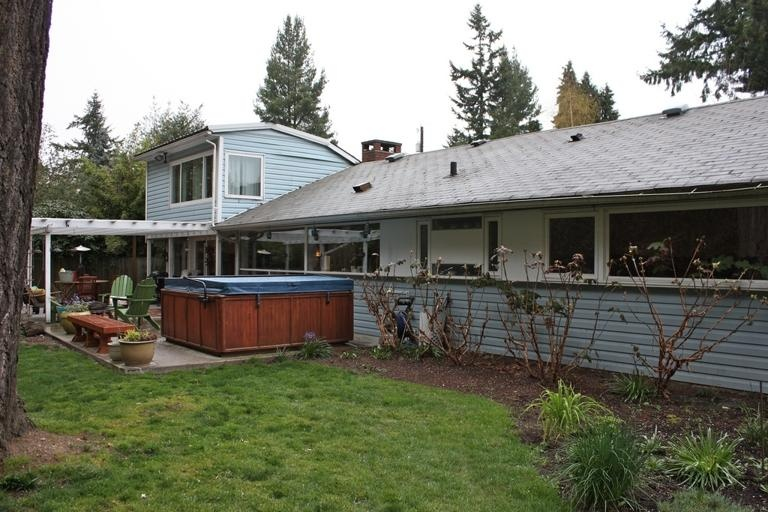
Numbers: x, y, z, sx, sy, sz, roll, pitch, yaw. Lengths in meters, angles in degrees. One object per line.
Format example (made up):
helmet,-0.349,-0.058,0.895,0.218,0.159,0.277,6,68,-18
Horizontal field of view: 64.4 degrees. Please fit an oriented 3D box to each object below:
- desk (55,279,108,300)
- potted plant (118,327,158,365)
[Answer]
desk,-10.000,1.099,20.198,1.450,0.973,1.468,2,-4,-37
potted plant,-4.804,1.770,11.938,0.646,0.622,0.682,-3,-4,23
